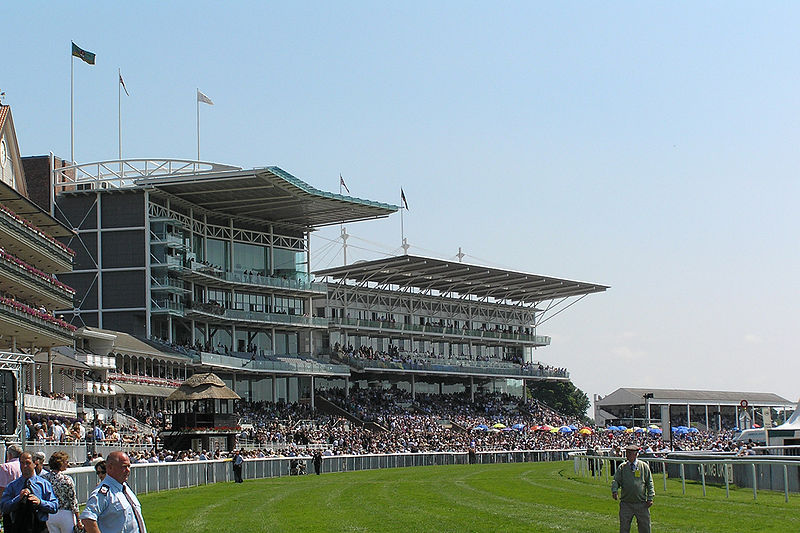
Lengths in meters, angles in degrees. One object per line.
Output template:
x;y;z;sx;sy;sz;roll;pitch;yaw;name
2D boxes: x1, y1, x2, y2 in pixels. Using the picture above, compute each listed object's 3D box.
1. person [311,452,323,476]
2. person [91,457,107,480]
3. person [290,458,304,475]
-4.505;10.577;77.984;0.627;1.300;1.607;12;0;-1;person
-9.141;6.104;43.628;0.664;0.606;0.756;-8;-10;-6;person
-5.553;10.717;77.272;0.241;0.753;0.883;-6;-16;40;person
